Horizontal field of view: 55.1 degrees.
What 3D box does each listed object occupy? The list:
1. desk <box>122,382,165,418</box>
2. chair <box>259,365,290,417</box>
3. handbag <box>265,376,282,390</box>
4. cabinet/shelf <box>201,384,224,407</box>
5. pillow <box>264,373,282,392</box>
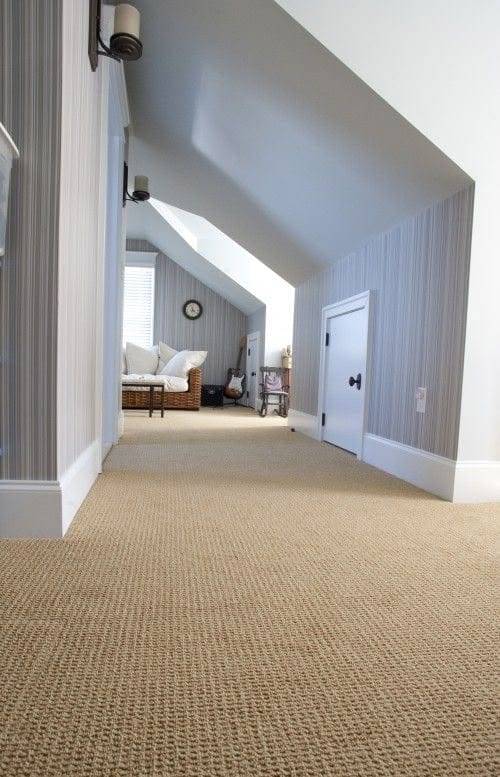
[{"bbox_3d":[-1.484,0.139,6.706,0.623,0.492,1.460,3,-1,-12],"label":"desk"},{"bbox_3d":[0.359,0.030,7.116,0.466,0.999,0.655,0,-4,-6],"label":"chair"},{"bbox_3d":[0.333,-0.071,6.860,0.148,0.171,0.035,2,0,-19],"label":"handbag"},{"bbox_3d":[-0.692,0.145,8.723,0.305,0.393,0.364,1,10,-1],"label":"cabinet/shelf"},{"bbox_3d":[0.327,-0.073,6.882,0.201,0.290,0.036,1,4,-13],"label":"pillow"}]
